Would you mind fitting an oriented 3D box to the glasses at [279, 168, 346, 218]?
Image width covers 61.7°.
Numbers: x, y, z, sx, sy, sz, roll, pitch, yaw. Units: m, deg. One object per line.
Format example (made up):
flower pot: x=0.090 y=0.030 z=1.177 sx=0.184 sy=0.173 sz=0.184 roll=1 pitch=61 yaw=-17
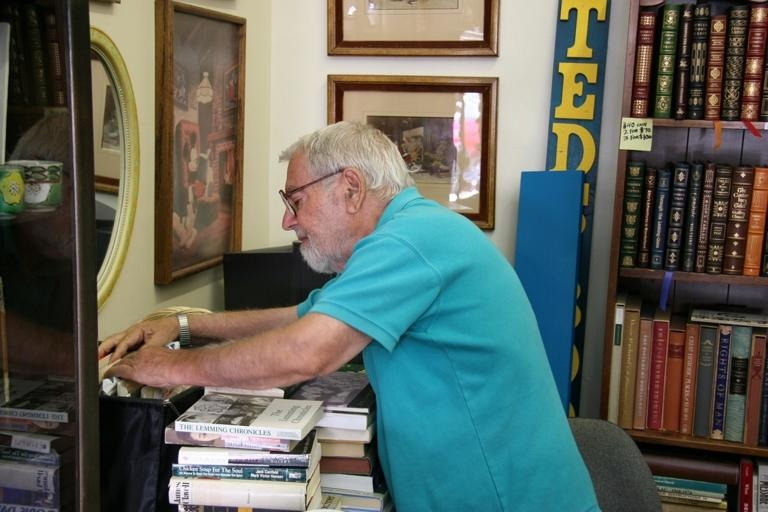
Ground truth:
glasses: x=-0.187 y=-0.156 z=1.662 sx=0.132 sy=0.041 sz=0.128 roll=-30 pitch=0 yaw=-5
